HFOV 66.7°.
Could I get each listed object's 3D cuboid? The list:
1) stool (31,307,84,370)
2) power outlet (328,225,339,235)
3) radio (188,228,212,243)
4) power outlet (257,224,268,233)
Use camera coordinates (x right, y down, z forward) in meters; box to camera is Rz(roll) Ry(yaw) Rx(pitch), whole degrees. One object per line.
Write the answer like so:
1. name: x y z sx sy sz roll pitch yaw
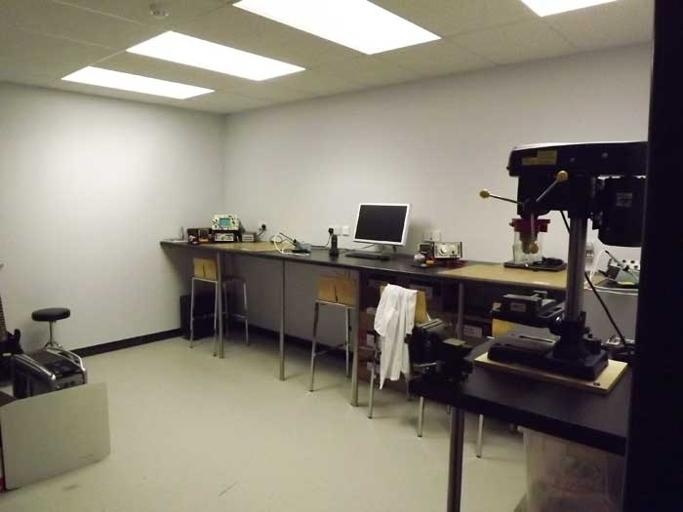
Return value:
1. stool: -2.522 0.738 4.562 0.415 0.488 0.409 -13 7 -19
2. power outlet: -0.055 -0.218 4.619 0.104 0.073 0.218 -1 11 -3
3. radio: -1.483 -0.213 5.374 0.174 0.123 0.179 8 7 41
4. power outlet: -0.846 -0.290 5.602 0.082 0.110 0.263 1 2 -5
